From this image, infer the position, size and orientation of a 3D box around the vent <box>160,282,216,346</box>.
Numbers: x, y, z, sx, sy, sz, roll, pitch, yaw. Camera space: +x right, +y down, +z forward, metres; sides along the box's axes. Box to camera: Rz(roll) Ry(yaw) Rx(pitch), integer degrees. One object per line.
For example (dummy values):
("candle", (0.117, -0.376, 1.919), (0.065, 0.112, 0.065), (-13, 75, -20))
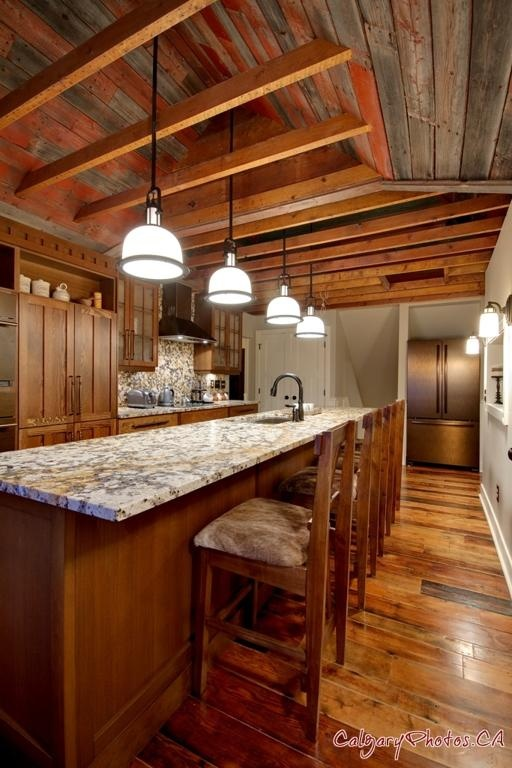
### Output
("vent", (-0.751, -0.725, 5.306), (0.368, 0.618, 0.627), (-2, -2, 24))

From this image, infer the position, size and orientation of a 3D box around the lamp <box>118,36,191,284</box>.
("lamp", (-0.447, -1.096, 2.357), (0.256, 1.270, 0.984), (0, 7, -9))

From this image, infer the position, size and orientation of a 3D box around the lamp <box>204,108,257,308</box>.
("lamp", (-0.145, -1.018, 2.947), (0.239, 1.127, 0.961), (1, 7, -5))

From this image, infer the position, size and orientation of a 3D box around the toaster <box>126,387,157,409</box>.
("toaster", (-0.992, 0.127, 4.570), (0.169, 0.153, 0.203), (11, 4, 30))

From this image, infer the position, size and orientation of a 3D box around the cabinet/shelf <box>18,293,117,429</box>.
("cabinet/shelf", (-1.386, -0.126, 3.669), (0.321, 0.871, 0.863), (2, 1, 29))

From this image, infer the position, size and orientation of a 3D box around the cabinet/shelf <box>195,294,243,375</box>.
("cabinet/shelf", (-0.426, -0.502, 6.109), (0.205, 0.830, 0.785), (0, -1, 27))

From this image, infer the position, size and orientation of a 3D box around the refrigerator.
("refrigerator", (2.077, 0.202, 5.825), (0.827, 1.398, 0.238), (5, 7, 24))

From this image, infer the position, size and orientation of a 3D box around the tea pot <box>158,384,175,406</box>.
("tea pot", (-0.855, 0.115, 4.874), (0.130, 0.167, 0.164), (-2, -8, 18))

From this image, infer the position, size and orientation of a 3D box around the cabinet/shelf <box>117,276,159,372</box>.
("cabinet/shelf", (-0.995, -0.500, 4.338), (0.267, 0.715, 0.678), (-4, -7, 20))

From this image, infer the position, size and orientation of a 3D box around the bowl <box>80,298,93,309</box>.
("bowl", (-1.235, -0.579, 3.805), (0.081, 0.054, 0.086), (0, 2, 0))
